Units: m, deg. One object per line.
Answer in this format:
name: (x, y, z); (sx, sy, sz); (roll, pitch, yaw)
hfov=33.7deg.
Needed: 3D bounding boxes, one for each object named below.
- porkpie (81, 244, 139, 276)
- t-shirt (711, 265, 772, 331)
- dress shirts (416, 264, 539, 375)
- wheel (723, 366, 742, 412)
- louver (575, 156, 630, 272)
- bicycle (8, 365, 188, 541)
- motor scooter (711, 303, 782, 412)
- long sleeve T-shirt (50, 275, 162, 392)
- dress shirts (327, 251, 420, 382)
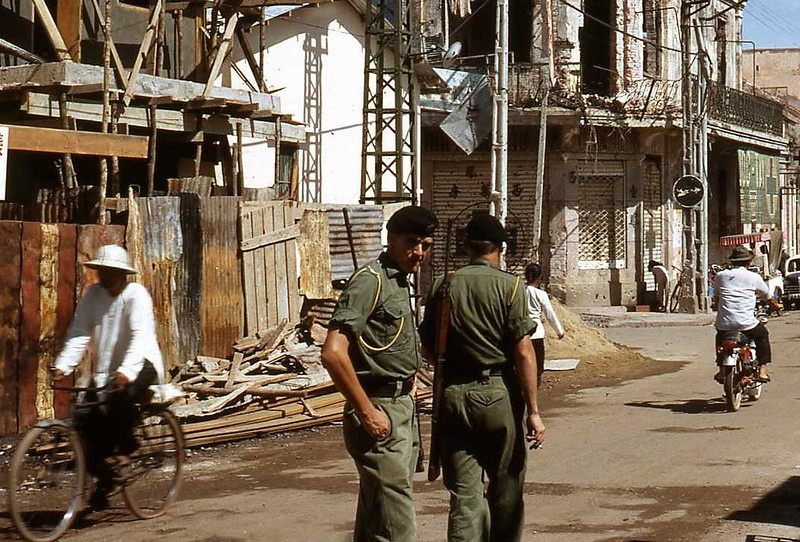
porkpie: (-3.566, -0.093, 16.552); (0.475, 0.205, 0.469); (10, -3, -42)
t-shirt: (5.443, 0.432, 21.131); (0.967, 0.966, 0.618); (4, 6, 25)
dress shirts: (1.008, 0.562, 15.769); (1.896, 1.707, 1.121); (0, 2, 7)
wheel: (5.242, 1.827, 20.716); (0.339, 0.752, 0.696); (-2, -5, 19)
louver: (5.604, -1.579, 36.782); (1.767, 2.960, 0.369); (-1, -1, 44)
bicycle: (-3.834, 2.400, 16.374); (1.282, 1.578, 2.881); (3, 1, 42)
motor scooter: (5.506, 1.096, 21.392); (0.835, 1.142, 1.790); (13, 21, 18)
long sleeve T-shirt: (-3.501, 0.848, 16.954); (1.257, 1.536, 1.326); (-1, -6, 24)
dress shirts: (-0.117, 0.554, 15.106); (0.766, 1.428, 1.659); (0, -3, 28)
